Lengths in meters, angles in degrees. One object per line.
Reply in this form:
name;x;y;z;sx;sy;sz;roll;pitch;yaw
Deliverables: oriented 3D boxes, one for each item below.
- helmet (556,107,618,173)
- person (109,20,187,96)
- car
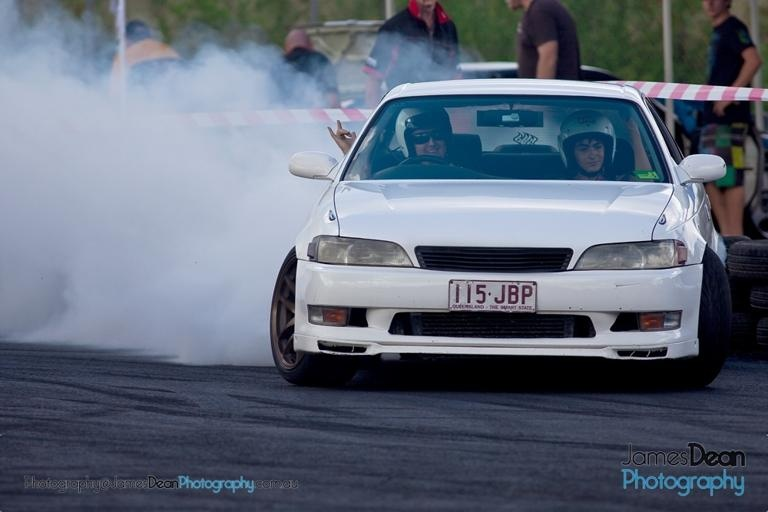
helmet;1.366;-0.723;9.810;0.378;0.527;0.417;-2;-20;0
person;-1.943;-1.679;12.268;0.473;0.503;0.732;5;12;24
car;0.738;-0.085;9.246;1.959;1.282;2.873;0;-4;8
